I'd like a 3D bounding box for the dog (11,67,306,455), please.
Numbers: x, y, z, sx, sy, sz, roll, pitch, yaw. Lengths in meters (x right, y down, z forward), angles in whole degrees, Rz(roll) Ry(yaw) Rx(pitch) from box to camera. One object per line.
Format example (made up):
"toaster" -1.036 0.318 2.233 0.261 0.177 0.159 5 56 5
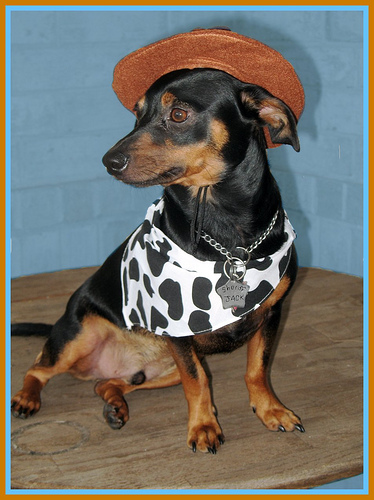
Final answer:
"dog" -0.183 -0.044 2.658 1.699 1.596 1.161 14 15 39
